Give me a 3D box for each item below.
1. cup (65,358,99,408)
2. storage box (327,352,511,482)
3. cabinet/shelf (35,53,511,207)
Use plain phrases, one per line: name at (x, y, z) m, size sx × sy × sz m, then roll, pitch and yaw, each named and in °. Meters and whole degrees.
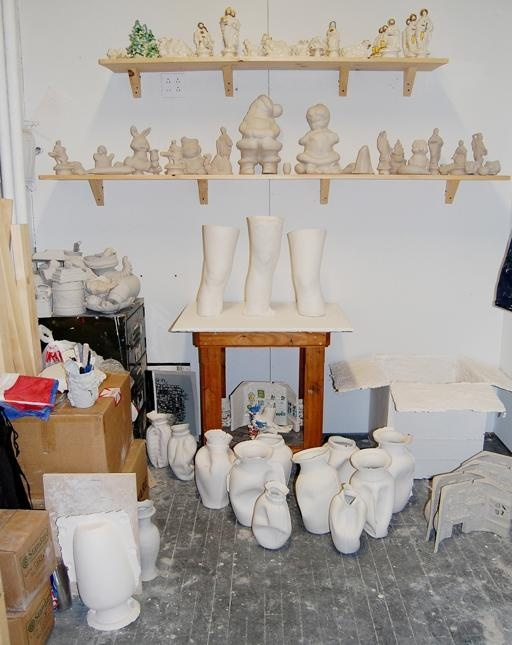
cup at (-0.513, 0.181, 1.454) m, size 0.109 × 0.154 × 0.113 m, roll 1°, pitch 17°, yaw 0°
storage box at (0.716, 0.333, 2.138) m, size 0.638 × 0.287 × 0.564 m, roll -1°, pitch 14°, yaw 3°
cabinet/shelf at (0.091, -0.831, 2.136) m, size 1.938 × 0.603 × 0.316 m, roll 0°, pitch 10°, yaw 0°
